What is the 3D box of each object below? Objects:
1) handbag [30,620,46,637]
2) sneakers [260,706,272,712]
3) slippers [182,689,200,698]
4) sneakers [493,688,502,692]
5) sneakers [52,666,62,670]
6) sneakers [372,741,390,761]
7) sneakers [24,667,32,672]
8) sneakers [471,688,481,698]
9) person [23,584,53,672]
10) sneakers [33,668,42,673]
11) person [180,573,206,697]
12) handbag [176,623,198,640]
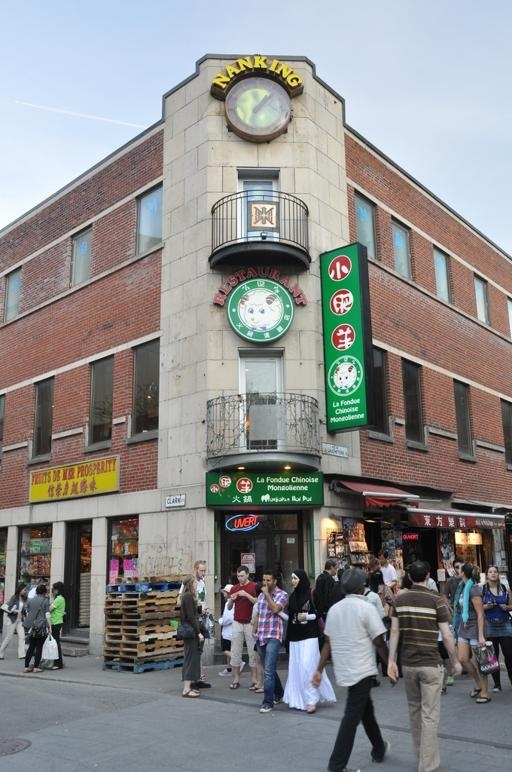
[{"bbox_3d":[-4.114,4.552,11.129,0.294,0.317,0.180,5,6,-2],"label":"handbag"},{"bbox_3d":[0.113,3.726,6.842,0.058,0.058,0.147,-2,-20,9],"label":"sneakers"},{"bbox_3d":[-0.889,4.137,7.989,0.184,0.080,0.101,-7,-9,22],"label":"slippers"},{"bbox_3d":[3.250,4.096,7.965,0.063,0.076,0.176,-24,-39,25],"label":"sneakers"},{"bbox_3d":[-3.851,5.425,11.421,0.065,0.046,0.127,0,-20,4],"label":"sneakers"},{"bbox_3d":[0.981,2.869,4.613,0.076,0.173,0.100,9,-21,-13],"label":"sneakers"},{"bbox_3d":[-4.255,5.298,11.063,0.142,0.061,0.056,2,-3,-37],"label":"sneakers"},{"bbox_3d":[2.815,3.923,7.578,0.076,0.086,0.219,-18,-23,4],"label":"sneakers"},{"bbox_3d":[-4.239,4.645,11.458,0.479,1.524,0.833,5,-17,-18],"label":"person"},{"bbox_3d":[-4.088,5.289,11.049,0.161,0.061,0.280,5,-17,-21],"label":"sneakers"},{"bbox_3d":[-0.919,3.475,8.286,0.327,1.523,0.386,1,-16,-7],"label":"person"},{"bbox_3d":[-0.983,3.428,8.243,0.327,0.221,0.148,-12,-19,35],"label":"handbag"}]
